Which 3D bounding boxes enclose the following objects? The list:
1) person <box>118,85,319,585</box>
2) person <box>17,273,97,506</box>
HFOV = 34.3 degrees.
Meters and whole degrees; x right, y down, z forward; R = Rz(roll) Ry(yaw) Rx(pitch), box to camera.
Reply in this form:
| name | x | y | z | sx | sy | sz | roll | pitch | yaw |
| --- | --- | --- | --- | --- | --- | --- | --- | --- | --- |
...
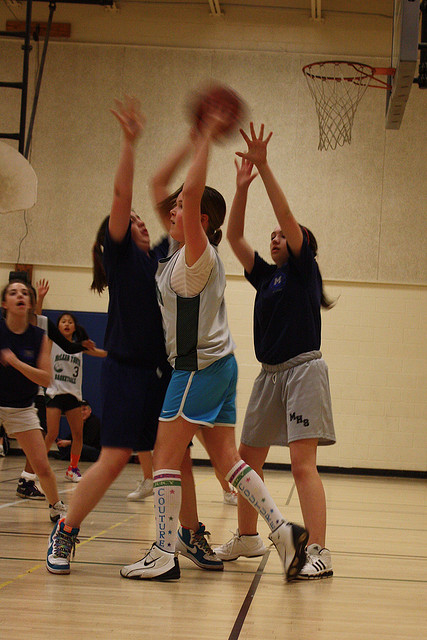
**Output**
| name | x | y | z | sx | sy | sz | roll | pitch | yaw |
| --- | --- | --- | --- | --- | --- | --- | --- | --- | --- |
| person | 0.035 | 0.115 | 2.814 | 0.687 | 1.881 | 0.693 | 5 | 3 | -6 |
| person | -1.244 | 0.610 | 6.152 | 0.757 | 1.886 | 0.451 | 4 | 9 | -12 |
